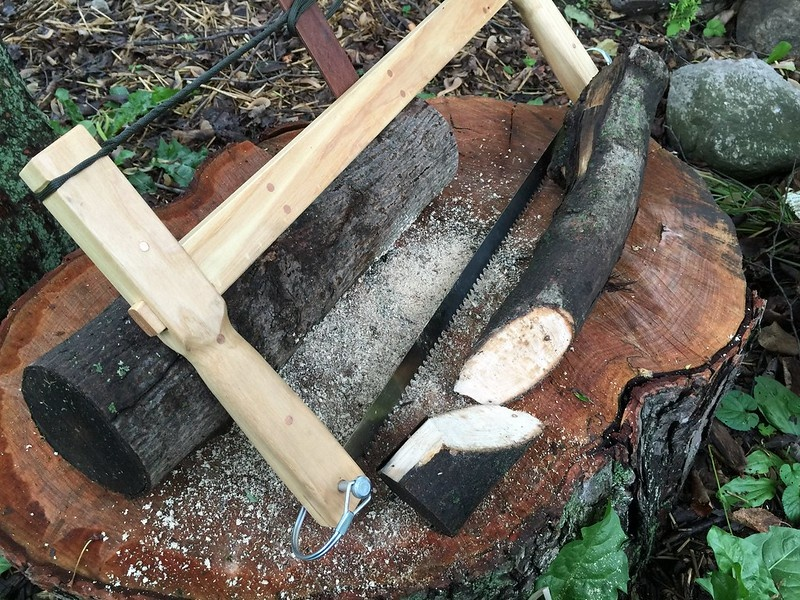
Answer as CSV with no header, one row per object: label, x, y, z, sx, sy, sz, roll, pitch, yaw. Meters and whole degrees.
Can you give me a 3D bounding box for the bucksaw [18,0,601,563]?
bucksaw,-0.324,-0.256,3.118,1.605,0.796,1.632,-40,70,-21
